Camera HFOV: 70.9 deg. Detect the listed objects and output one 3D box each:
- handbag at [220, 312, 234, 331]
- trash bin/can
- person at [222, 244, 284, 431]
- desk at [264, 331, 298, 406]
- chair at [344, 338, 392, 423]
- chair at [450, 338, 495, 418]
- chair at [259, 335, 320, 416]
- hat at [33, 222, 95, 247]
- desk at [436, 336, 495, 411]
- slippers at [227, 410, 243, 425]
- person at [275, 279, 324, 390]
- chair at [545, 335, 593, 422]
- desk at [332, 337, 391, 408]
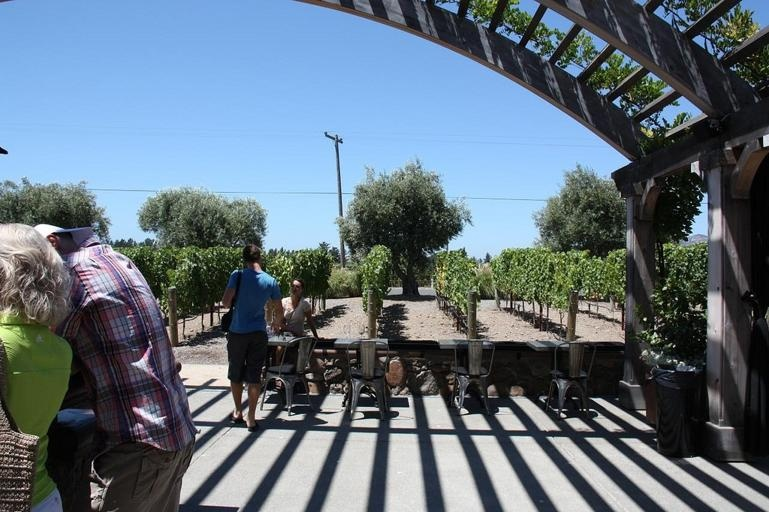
[{"bbox_3d":[-1.744,0.707,5.887,0.191,0.216,0.146,0,-4,7],"label":"handbag"},{"bbox_3d":[3.095,1.641,5.767,0.543,0.831,0.519,8,-6,-3],"label":"trash bin/can"},{"bbox_3d":[-1.438,1.026,5.944,0.600,1.779,0.358,-1,7,-14],"label":"person"},{"bbox_3d":[-1.299,1.478,6.784,0.553,0.969,0.573,5,-4,-14],"label":"desk"},{"bbox_3d":[-0.251,1.538,6.748,0.572,0.938,0.616,-1,-6,8],"label":"chair"},{"bbox_3d":[1.111,1.481,6.854,0.437,0.897,0.517,2,-3,3],"label":"chair"},{"bbox_3d":[-1.182,1.424,6.730,0.520,0.961,0.510,3,1,35],"label":"chair"},{"bbox_3d":[-1.972,-0.146,3.384,0.240,0.127,0.191,1,6,-11],"label":"hat"},{"bbox_3d":[1.105,1.525,6.980,0.834,0.926,0.720,2,-5,-15],"label":"desk"},{"bbox_3d":[-1.722,1.850,6.257,0.088,0.114,0.253,0,2,-13],"label":"slippers"},{"bbox_3d":[-1.237,1.035,7.277,0.579,1.431,0.666,-1,-5,2],"label":"person"},{"bbox_3d":[2.321,1.484,6.906,0.529,0.951,1.090,3,7,17],"label":"chair"},{"bbox_3d":[-0.243,1.528,6.775,0.572,0.949,0.658,0,-6,2],"label":"desk"}]
